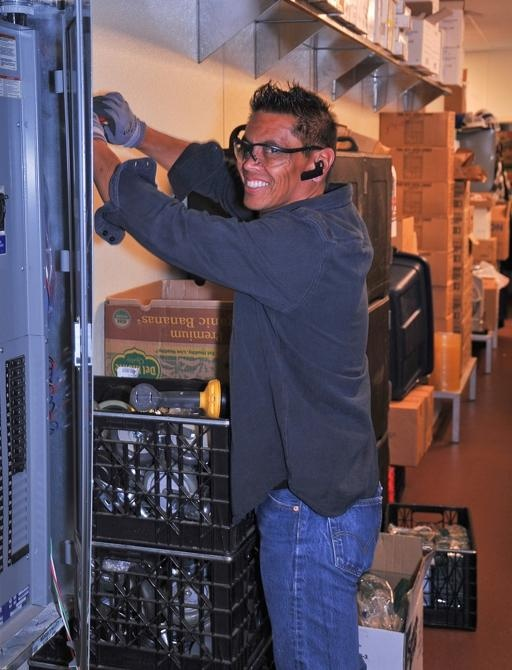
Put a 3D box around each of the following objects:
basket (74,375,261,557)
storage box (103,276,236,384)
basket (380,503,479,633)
[{"bbox_3d":[-0.183,0.259,1.564,0.351,0.326,0.271,0,6,0],"label":"basket"},{"bbox_3d":[-0.204,0.004,1.931,0.256,0.189,0.278,2,8,15],"label":"storage box"},{"bbox_3d":[0.682,0.833,2.770,0.232,0.187,0.399,-1,12,12],"label":"basket"}]
